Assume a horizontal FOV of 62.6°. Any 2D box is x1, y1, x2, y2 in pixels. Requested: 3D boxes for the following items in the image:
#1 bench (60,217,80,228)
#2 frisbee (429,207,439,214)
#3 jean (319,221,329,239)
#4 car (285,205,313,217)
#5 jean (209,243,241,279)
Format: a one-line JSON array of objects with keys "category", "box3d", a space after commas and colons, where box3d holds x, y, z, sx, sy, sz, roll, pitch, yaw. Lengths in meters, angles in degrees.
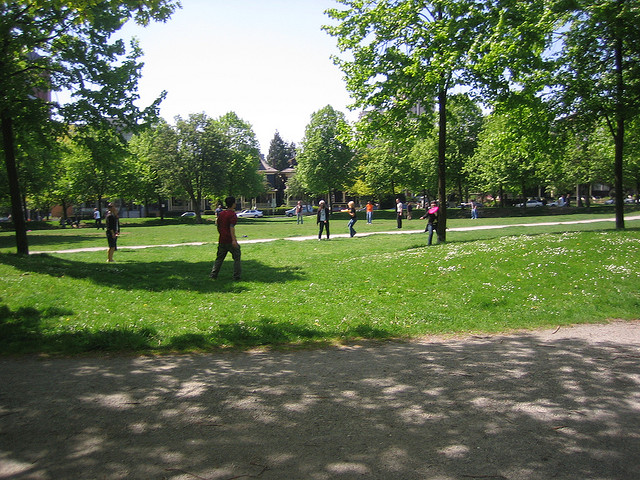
[{"category": "bench", "box3d": [-26.090, -1.785, 55.085, 1.732, 0.648, 2.025, -1, 4, -25]}, {"category": "frisbee", "box3d": [5.230, -1.365, 24.399, 0.341, 0.315, 0.679, 2, 10, 8]}, {"category": "jean", "box3d": [0.213, -0.579, 29.076, 0.528, 0.926, 1.088, 1, 11, 0]}, {"category": "car", "box3d": [-3.525, -5.071, 88.809, 4.305, 1.634, 2.215, 1, 1, -3]}, {"category": "jean", "box3d": [-3.115, 0.739, 17.396, 1.181, 1.393, 0.584, 7, 13, 23]}]
